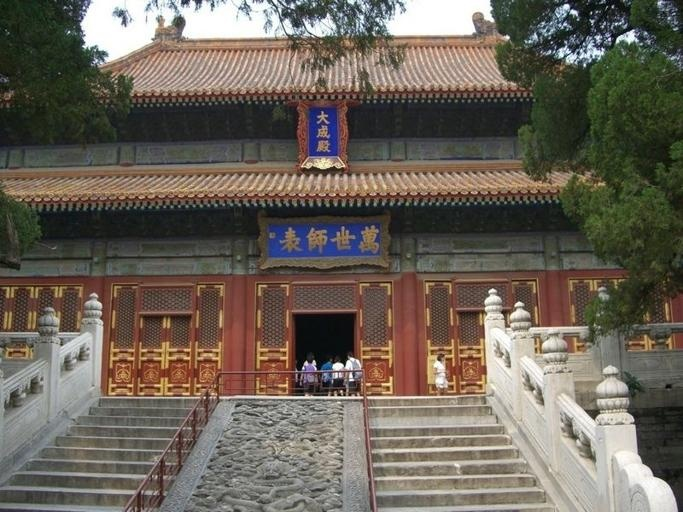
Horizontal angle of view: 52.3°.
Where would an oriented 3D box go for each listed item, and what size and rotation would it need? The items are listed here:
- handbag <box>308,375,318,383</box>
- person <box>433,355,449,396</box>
[{"bbox_3d":[-0.614,2.585,14.687,0.217,0.201,0.629,-1,-6,-3],"label":"handbag"},{"bbox_3d":[2.092,2.498,14.720,0.293,0.832,0.659,-2,-7,9],"label":"person"}]
